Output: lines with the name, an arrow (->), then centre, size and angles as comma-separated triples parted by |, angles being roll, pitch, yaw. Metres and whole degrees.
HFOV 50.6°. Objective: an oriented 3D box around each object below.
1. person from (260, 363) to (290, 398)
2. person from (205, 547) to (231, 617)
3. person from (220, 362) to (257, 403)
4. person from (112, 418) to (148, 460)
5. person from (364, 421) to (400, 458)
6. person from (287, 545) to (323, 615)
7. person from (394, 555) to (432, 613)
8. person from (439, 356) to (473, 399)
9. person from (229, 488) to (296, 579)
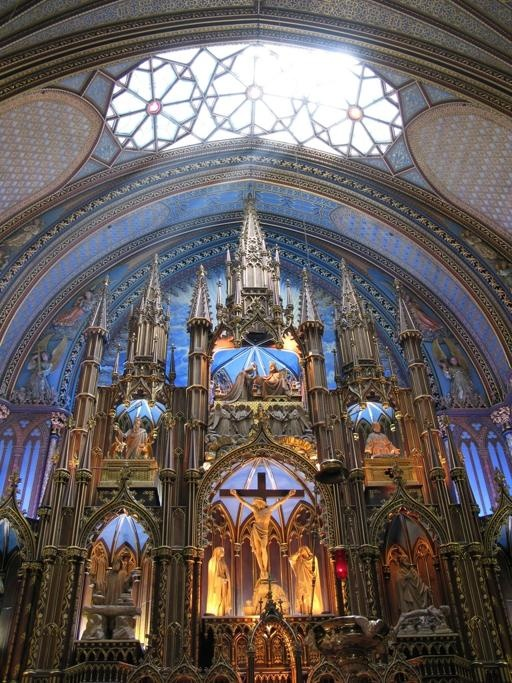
person -> 0.432, 0.863, 11.822 | 0.601, 0.981, 0.307 | -1, -37, 0
person -> -0.629, 4.095, 9.232 | 0.419, 1.123, 0.578 | 1, -37, -4
person -> -0.321, 0.906, 11.740 | 0.749, 1.115, 0.339 | 1, -37, -3
person -> -2.440, 1.895, 10.409 | 0.719, 0.970, 0.374 | -1, -61, -8
person -> 2.459, 1.965, 10.666 | 0.642, 0.861, 0.424 | -6, -37, 6
person -> 0.862, 4.056, 9.285 | 0.553, 1.243, 0.882 | -3, -37, 2
person -> 2.424, 3.687, 8.309 | 0.421, 0.878, 0.469 | -13, -38, 14
person -> 4.778, 0.871, 12.805 | 0.581, 1.336, 0.198 | -4, -37, 4
person -> 0.123, 3.515, 9.772 | 1.097, 1.599, 0.742 | -3, -37, 2
